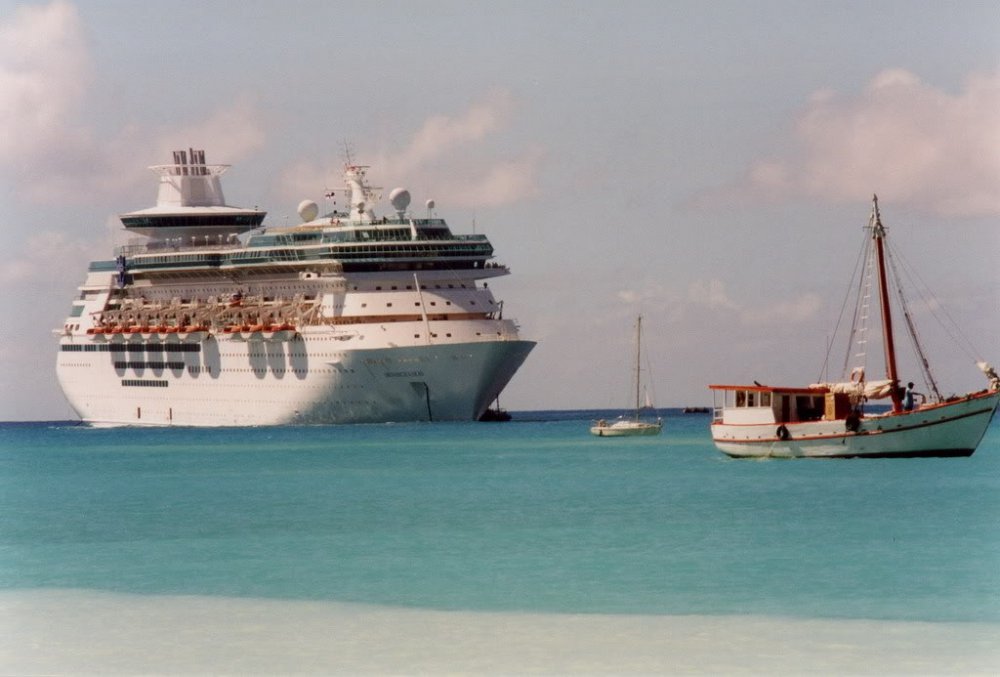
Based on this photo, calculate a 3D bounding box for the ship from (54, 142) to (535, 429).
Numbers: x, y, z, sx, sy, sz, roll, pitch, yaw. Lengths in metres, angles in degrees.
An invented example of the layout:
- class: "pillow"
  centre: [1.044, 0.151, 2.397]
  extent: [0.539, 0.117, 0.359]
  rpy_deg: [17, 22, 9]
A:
- class: "ship"
  centre: [-14.935, -3.586, 113.005]
  extent: [12.116, 18.997, 37.371]
  rpy_deg: [2, -6, -41]

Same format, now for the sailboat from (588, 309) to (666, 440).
- class: "sailboat"
  centre: [8.381, 5.675, 116.475]
  extent: [4.767, 9.275, 3.687]
  rpy_deg: [-12, 23, -14]
